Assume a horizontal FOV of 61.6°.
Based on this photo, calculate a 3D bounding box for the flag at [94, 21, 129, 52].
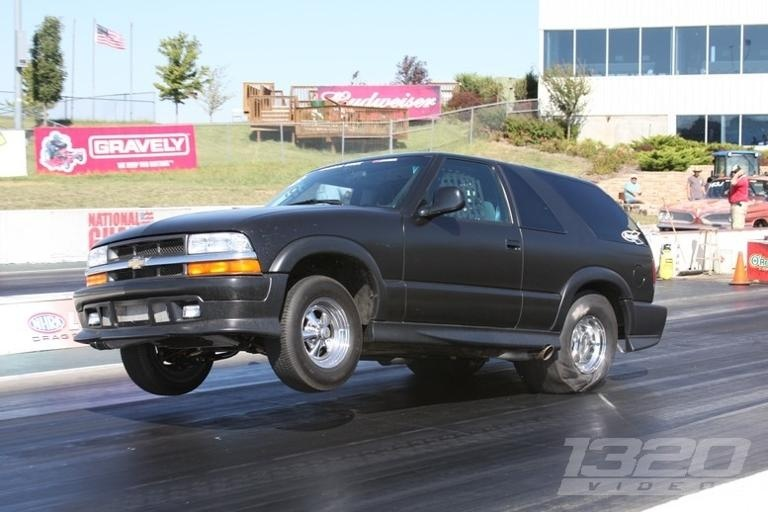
[{"bbox_3d":[-23.146,-18.586,54.273,2.118,1.891,1.748,-3,5,-25],"label":"flag"}]

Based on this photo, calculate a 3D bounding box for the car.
[{"bbox_3d":[12.980,-2.059,25.269,4.931,1.323,2.622,1,-1,-33],"label":"car"}]

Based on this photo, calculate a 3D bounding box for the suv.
[{"bbox_3d":[0.276,0.249,7.229,6.300,2.775,2.142,-3,5,-35],"label":"suv"}]
